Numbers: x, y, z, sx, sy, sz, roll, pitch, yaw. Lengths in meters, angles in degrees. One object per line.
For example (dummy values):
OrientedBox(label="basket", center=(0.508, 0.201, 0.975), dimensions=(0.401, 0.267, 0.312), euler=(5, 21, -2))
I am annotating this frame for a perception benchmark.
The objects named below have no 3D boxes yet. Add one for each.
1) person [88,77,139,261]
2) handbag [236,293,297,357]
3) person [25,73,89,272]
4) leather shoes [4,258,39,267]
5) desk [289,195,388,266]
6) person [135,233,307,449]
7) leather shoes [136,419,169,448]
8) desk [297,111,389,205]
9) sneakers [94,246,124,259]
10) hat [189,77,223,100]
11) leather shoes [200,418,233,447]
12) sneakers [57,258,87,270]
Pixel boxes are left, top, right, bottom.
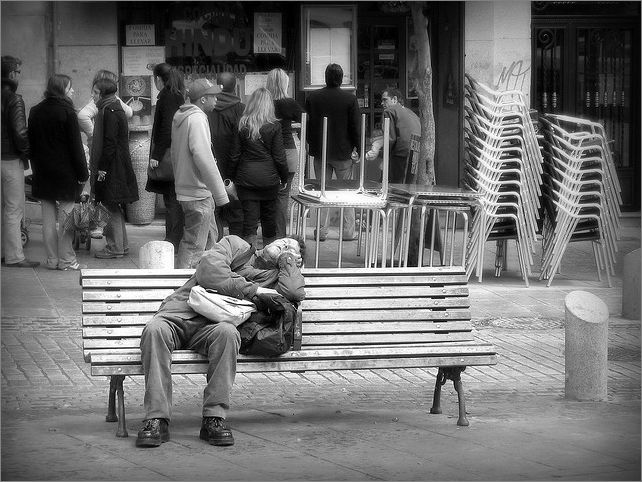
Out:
OrientedBox(label="person", center=(-2.864, -0.980, 12.169), dimensions=(0.630, 2.496, 0.558), euler=(-1, 11, -15))
OrientedBox(label="handbag", center=(-0.388, 0.640, 6.468), dimensions=(0.482, 0.459, 0.354), euler=(0, -4, -1))
OrientedBox(label="person", center=(-3.534, -0.921, 11.731), dimensions=(0.777, 2.558, 0.599), euler=(2, 11, 1))
OrientedBox(label="leather shoes", center=(-4.035, 0.304, 11.887), dimensions=(0.430, 0.177, 0.159), euler=(-3, 6, -12))
OrientedBox(label="desk", center=(0.185, -0.139, 11.572), dimensions=(1.100, 0.813, 1.093), euler=(1, 15, -18))
OrientedBox(label="person", center=(-0.796, 0.745, 6.480), dimensions=(0.788, 1.418, 1.345), euler=(12, 15, 43))
OrientedBox(label="leather shoes", center=(-1.190, 1.352, 6.143), dimensions=(0.115, 0.146, 0.307), euler=(1, -5, 12))
OrientedBox(label="desk", center=(0.300, -1.006, 11.741), dimensions=(1.201, 1.392, 1.945), euler=(3, 11, 4))
OrientedBox(label="sneakers", center=(-2.995, 0.165, 12.379), dimensions=(0.414, 0.185, 0.177), euler=(4, 3, 7))
OrientedBox(label="hat", center=(-1.351, -1.762, 10.435), dimensions=(0.441, 0.253, 0.287), euler=(-9, 32, -15))
OrientedBox(label="leather shoes", center=(-0.754, 1.363, 6.298), dimensions=(0.121, 0.159, 0.332), euler=(2, -2, -27))
OrientedBox(label="sneakers", center=(-3.338, 0.305, 11.777), dimensions=(0.389, 0.164, 0.131), euler=(0, 12, -22))
